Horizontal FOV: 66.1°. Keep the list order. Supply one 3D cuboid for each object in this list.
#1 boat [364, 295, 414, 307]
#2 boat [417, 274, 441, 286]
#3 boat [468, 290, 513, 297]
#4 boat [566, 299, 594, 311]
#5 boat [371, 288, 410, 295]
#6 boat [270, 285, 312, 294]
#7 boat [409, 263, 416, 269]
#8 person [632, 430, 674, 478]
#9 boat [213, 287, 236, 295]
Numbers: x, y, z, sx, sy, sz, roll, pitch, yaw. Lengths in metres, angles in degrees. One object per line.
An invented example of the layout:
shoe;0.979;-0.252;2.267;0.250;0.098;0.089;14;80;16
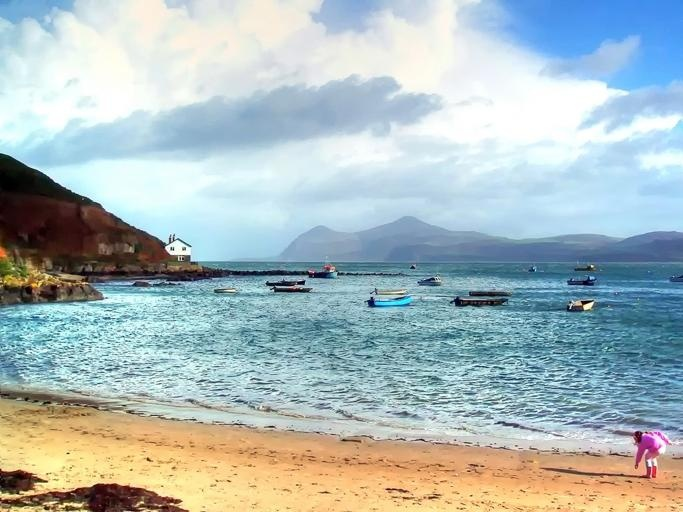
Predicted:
boat;6.842;6.529;75.673;3.511;1.613;8.174;1;0;33
boat;21.128;6.183;124.555;6.012;1.793;3.195;-1;4;-5
boat;26.163;6.558;92.678;8.485;0.731;1.432;0;12;-8
boat;31.764;6.468;69.288;3.113;1.009;1.784;3;-6;-45
boat;9.545;6.446;93.188;2.596;1.618;10.909;-3;-3;39
boat;-11.212;6.473;102.611;10.555;1.594;2.198;0;-5;8
boat;40.141;6.201;295.392;2.838;2.826;8.348;-2;-2;5
person;10.585;6.759;18.054;0.917;1.374;0.868;1;0;28
boat;-21.891;6.476;99.359;3.505;1.122;8.951;0;0;-8
